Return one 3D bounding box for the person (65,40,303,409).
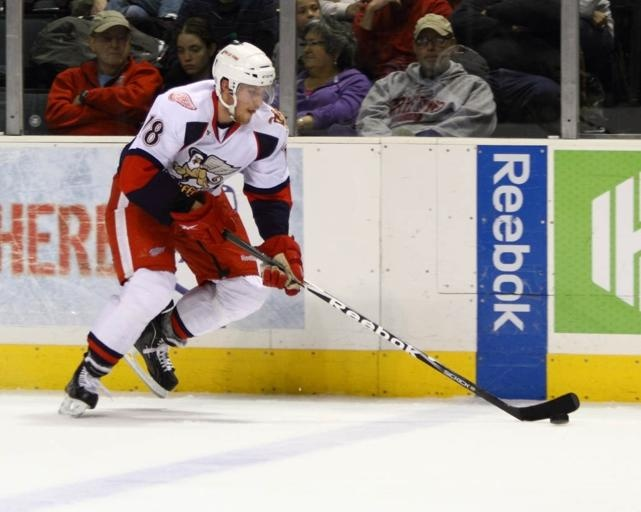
[{"bbox_3d":[-0.594,-0.118,4.464,1.014,1.569,0.460,-2,13,-10],"label":"person"}]

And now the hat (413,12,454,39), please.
[{"bbox_3d":[0.553,-1.102,4.994,0.118,0.065,0.146,-7,-12,14],"label":"hat"}]

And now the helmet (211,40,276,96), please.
[{"bbox_3d":[-0.311,-0.764,4.396,0.250,0.224,0.272,-15,33,-32],"label":"helmet"}]

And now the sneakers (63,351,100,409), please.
[{"bbox_3d":[-1.041,0.540,4.416,0.096,0.131,0.255,39,29,-28],"label":"sneakers"}]

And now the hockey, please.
[{"bbox_3d":[0.454,0.323,4.828,1.727,0.172,0.133,24,-16,11],"label":"hockey"}]
